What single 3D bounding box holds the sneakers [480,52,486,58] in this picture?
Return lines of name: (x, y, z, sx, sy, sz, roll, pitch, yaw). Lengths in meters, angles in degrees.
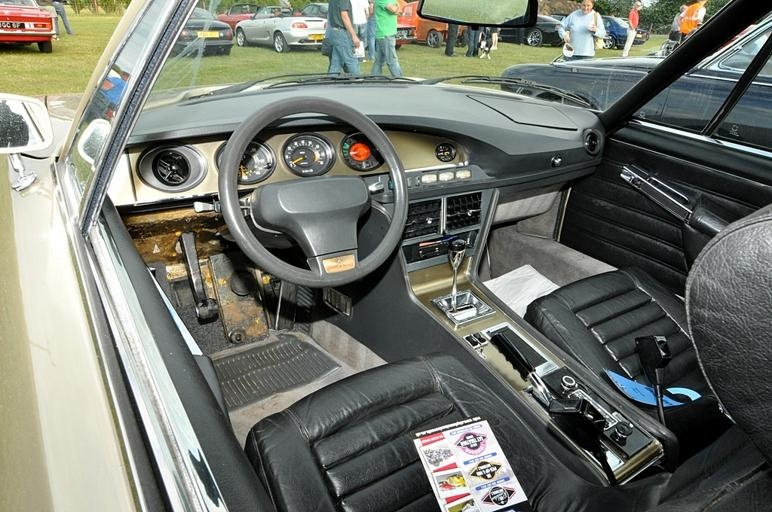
sneakers: (1.305, -2.693, 6.429, 0.046, 0.058, 0.195, 2, 12, 13)
